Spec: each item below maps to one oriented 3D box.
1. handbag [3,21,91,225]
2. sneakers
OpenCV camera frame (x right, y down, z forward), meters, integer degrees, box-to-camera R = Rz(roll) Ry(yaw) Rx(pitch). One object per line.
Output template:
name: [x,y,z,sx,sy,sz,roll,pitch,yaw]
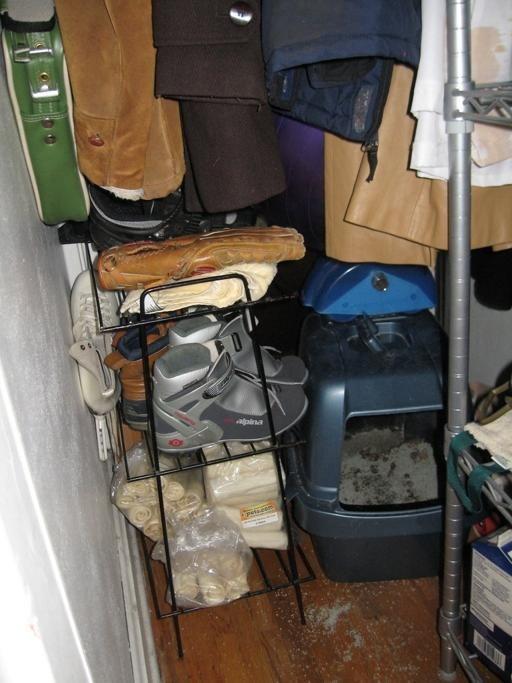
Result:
handbag: [-0.273,-0.294,0.729,0.079,0.227,0.181,-11,62,-8]
sneakers: [-0.103,0.063,1.039,0.430,0.276,0.198,-7,-15,-21]
